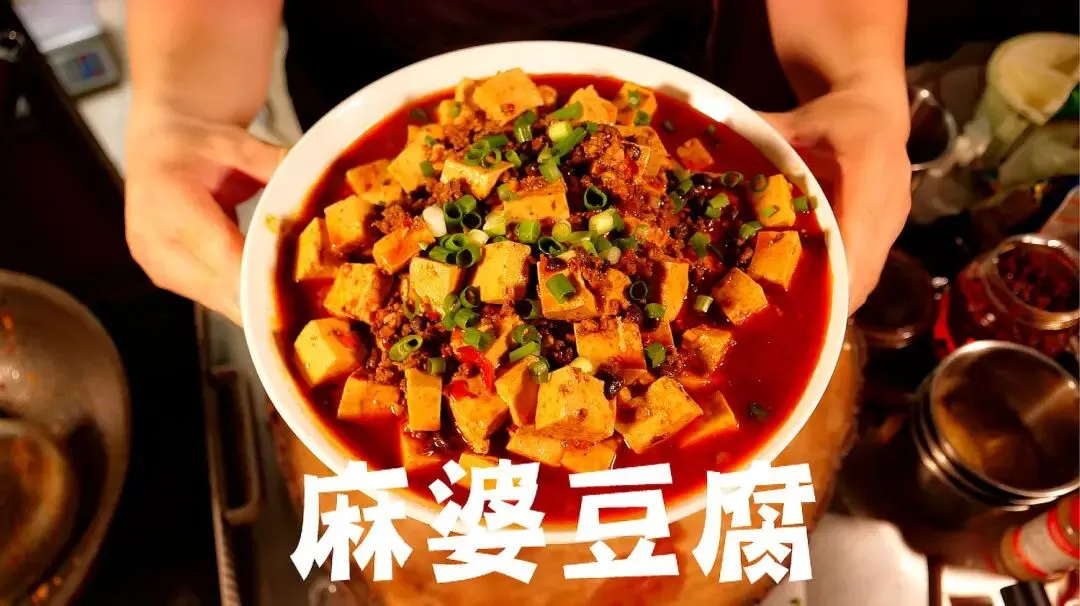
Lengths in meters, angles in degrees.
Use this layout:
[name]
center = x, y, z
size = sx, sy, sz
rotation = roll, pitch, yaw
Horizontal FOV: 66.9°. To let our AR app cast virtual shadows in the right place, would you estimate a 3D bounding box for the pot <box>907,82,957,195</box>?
[pot]
center = 3.210, -1.308, 6.797
size = 0.380, 0.573, 0.935
rotation = 10, 53, 10
